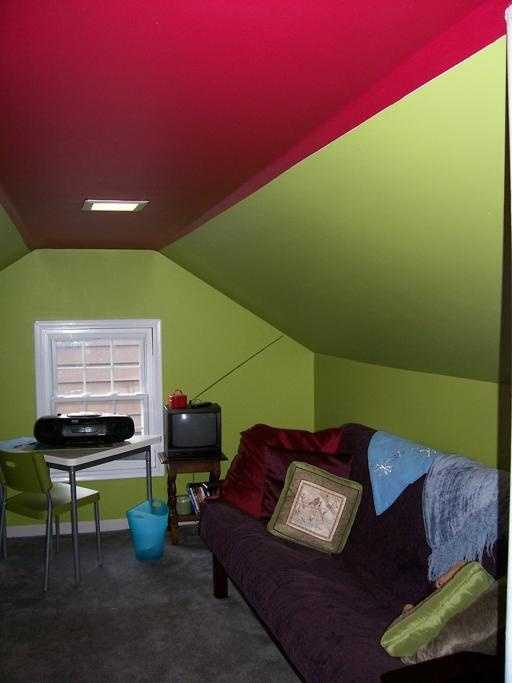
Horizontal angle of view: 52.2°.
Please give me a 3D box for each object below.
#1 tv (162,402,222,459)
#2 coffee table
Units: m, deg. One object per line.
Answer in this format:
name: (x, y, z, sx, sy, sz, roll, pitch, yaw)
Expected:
tv: (-0.475, 0.589, 3.879, 0.574, 0.487, 0.328, -1, 1, -11)
coffee table: (-0.584, 1.083, 4.019, 0.590, 0.710, 0.592, -3, 8, -14)
